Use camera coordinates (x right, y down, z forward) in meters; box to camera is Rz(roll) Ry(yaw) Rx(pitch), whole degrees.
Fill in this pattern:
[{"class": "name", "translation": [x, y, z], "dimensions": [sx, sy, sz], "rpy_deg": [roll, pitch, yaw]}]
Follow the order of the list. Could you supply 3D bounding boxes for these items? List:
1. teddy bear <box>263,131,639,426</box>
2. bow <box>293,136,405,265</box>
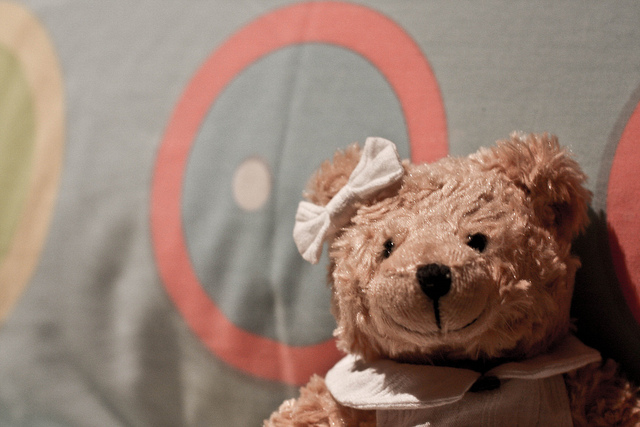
[{"class": "teddy bear", "translation": [0.283, 0.168, 1.804], "dimensions": [0.759, 0.781, 0.558], "rpy_deg": [-9, -14, 13]}, {"class": "bow", "translation": [0.058, -0.029, 1.719], "dimensions": [0.290, 0.185, 0.111], "rpy_deg": [-49, -1, -12]}]
